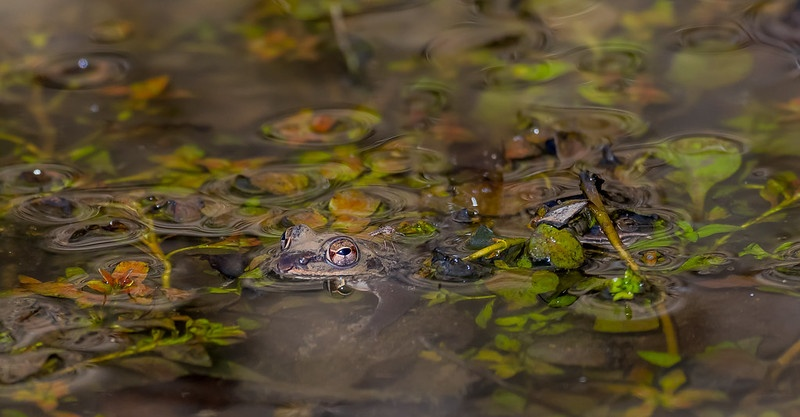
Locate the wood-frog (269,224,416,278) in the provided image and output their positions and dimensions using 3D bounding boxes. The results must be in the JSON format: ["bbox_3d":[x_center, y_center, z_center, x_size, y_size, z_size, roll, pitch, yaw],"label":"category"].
[{"bbox_3d":[-0.322,0.310,4.025,0.712,0.872,0.214,-7,81,44],"label":"wood-frog"}]
